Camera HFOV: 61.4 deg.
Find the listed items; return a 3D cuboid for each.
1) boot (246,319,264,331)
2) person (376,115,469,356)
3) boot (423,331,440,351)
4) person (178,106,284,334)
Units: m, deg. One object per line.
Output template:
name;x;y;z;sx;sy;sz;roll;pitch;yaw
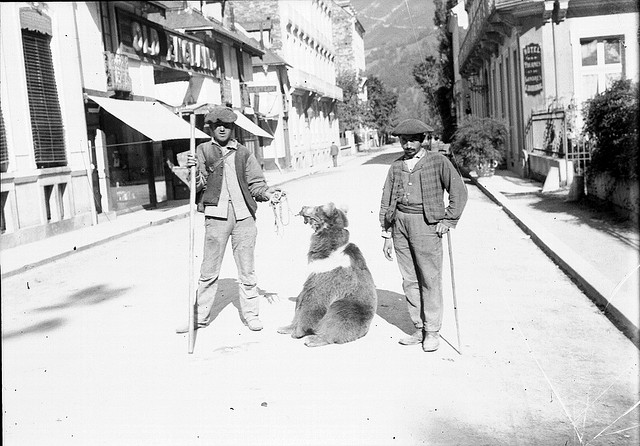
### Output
boot;-0.816;1.258;6.661;0.208;0.136;0.190;-4;8;-5
person;1.102;0.135;5.843;0.938;2.496;0.454;-1;6;15
boot;1.219;1.283;5.864;0.217;0.202;0.153;-4;7;-6
person;-1.112;-0.029;6.624;1.015;2.728;0.514;-4;6;-13
